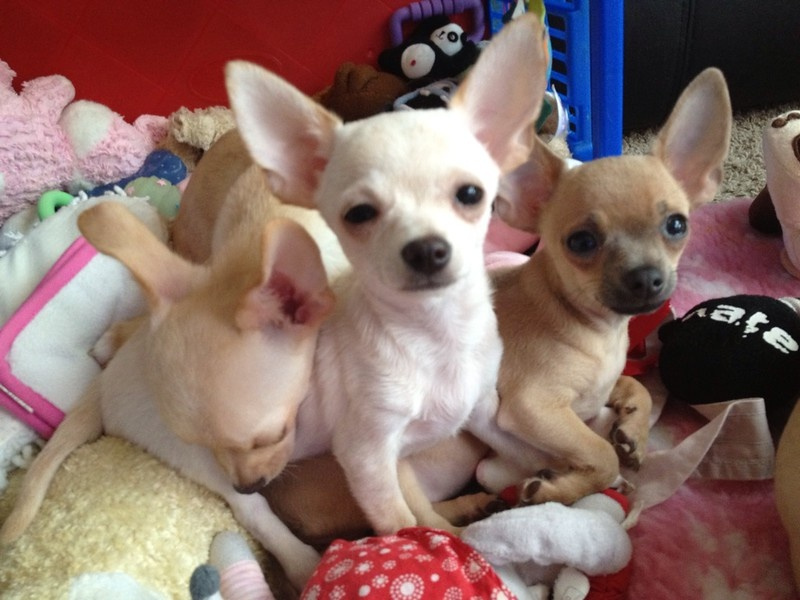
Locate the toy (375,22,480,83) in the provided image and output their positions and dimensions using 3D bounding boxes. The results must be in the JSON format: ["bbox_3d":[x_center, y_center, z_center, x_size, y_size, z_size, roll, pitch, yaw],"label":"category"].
[{"bbox_3d":[0.124,-0.954,3.101,0.292,0.129,0.260,-17,39,-4],"label":"toy"}]

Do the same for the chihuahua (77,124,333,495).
[{"bbox_3d":[-0.334,-0.048,1.960,0.532,0.598,0.900,7,65,-3],"label":"chihuahua"}]
